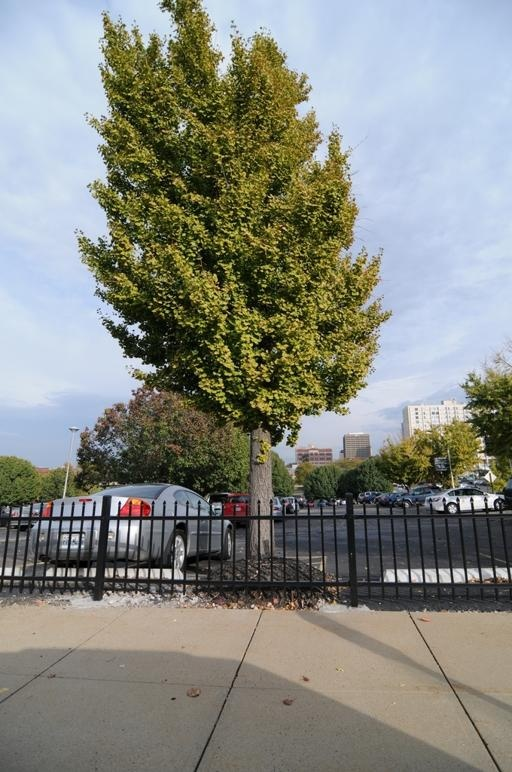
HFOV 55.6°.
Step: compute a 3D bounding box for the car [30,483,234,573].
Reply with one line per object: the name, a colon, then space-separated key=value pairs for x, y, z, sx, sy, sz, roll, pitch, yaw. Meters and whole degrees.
car: x=-1.751 y=2.036 z=6.857 sx=2.106 sy=1.223 sz=3.255 roll=-1 pitch=-10 yaw=11
